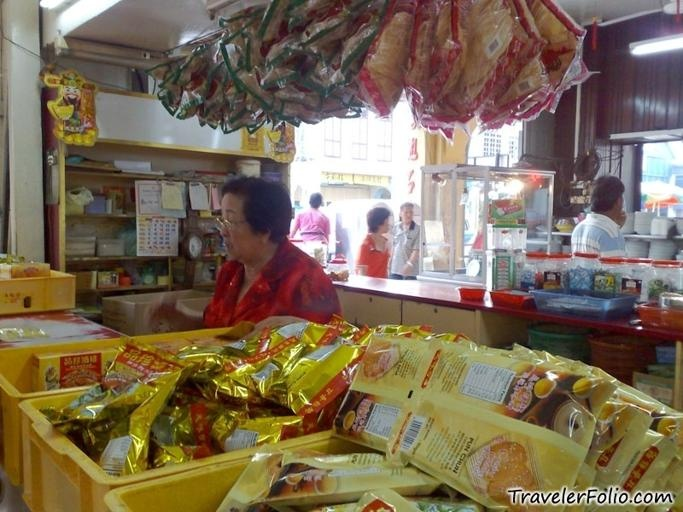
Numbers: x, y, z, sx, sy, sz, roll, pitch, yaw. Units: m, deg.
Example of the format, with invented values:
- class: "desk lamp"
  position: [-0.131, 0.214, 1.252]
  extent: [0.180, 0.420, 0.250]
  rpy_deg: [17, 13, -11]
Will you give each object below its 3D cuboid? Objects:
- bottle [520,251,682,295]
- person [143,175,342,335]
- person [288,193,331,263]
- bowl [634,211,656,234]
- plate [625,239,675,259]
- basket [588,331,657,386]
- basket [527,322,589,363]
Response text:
- class: "bottle"
  position: [1.405, 0.112, 2.896]
  extent: [0.815, 0.246, 0.329]
  rpy_deg: [5, 7, 30]
- class: "person"
  position: [-0.406, 0.006, 2.559]
  extent: [0.885, 0.795, 0.495]
  rpy_deg: [3, 6, 17]
- class: "person"
  position: [-0.396, -0.324, 7.860]
  extent: [0.408, 1.319, 0.399]
  rpy_deg: [10, 27, 13]
- class: "bowl"
  position: [3.942, -0.432, 6.775]
  extent: [0.252, 0.300, 0.254]
  rpy_deg: [0, -1, 0]
- class: "plate"
  position: [3.867, -0.080, 6.449]
  extent: [0.214, 0.224, 0.232]
  rpy_deg: [1, 2, -14]
- class: "basket"
  position: [1.439, 0.494, 2.645]
  extent: [0.270, 0.209, 0.271]
  rpy_deg: [-16, -21, 32]
- class: "basket"
  position: [1.197, 0.481, 2.851]
  extent: [0.331, 0.190, 0.242]
  rpy_deg: [6, 7, 35]
